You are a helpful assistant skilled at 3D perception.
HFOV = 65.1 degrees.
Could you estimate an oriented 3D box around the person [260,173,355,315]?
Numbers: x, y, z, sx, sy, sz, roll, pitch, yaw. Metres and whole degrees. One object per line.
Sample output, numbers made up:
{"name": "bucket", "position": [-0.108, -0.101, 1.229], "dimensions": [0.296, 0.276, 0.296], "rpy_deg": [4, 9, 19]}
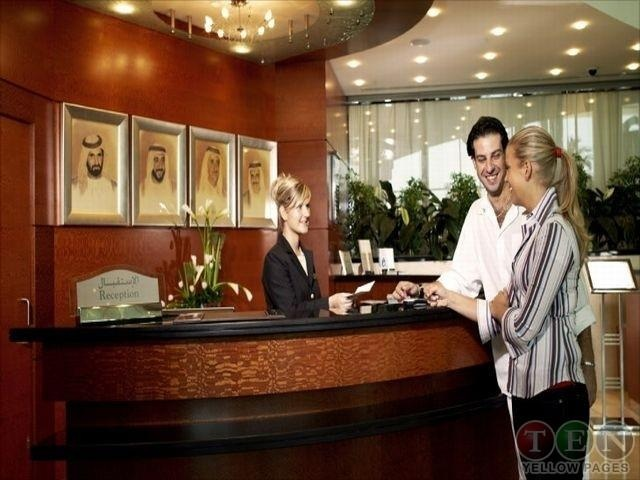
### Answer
{"name": "person", "position": [-0.111, 0.065, 3.271], "dimensions": [0.535, 0.902, 0.906], "rpy_deg": [-2, 10, -8]}

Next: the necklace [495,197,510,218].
{"name": "necklace", "position": [1.153, -0.205, 3.175], "dimensions": [0.085, 0.130, 0.045], "rpy_deg": [-6, -12, 40]}

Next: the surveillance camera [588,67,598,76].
{"name": "surveillance camera", "position": [4.297, -2.642, 7.890], "dimensions": [0.088, 0.079, 0.106], "rpy_deg": [0, -6, -2]}

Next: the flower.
{"name": "flower", "position": [-1.214, 0.191, 5.570], "dimensions": [0.971, 1.300, 1.034], "rpy_deg": [5, -9, -20]}
